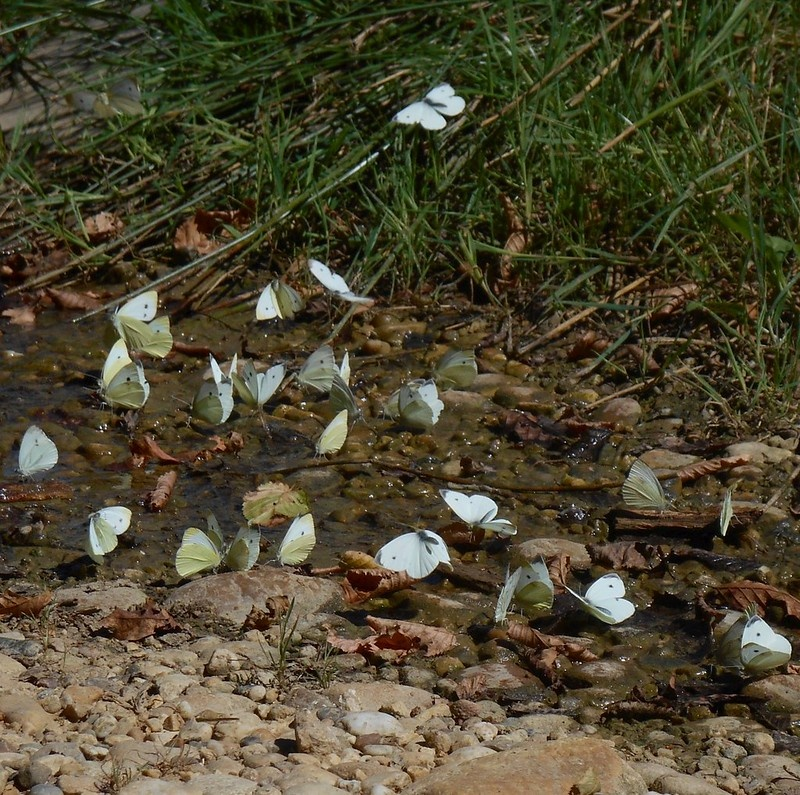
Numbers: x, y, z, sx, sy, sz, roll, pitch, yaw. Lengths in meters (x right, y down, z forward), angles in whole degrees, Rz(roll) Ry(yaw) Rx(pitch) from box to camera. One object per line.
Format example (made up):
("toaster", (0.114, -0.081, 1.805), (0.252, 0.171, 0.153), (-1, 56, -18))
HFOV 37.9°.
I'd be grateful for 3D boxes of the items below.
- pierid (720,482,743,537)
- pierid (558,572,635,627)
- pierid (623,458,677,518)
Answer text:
("pierid", (1.195, 0.408, 4.161), (0.080, 0.101, 0.230), (-3, 48, 30))
("pierid", (0.646, 0.625, 3.605), (0.229, 0.093, 0.180), (18, 33, -7))
("pierid", (0.891, 0.324, 4.217), (0.237, 0.206, 0.115), (11, 103, 21))
